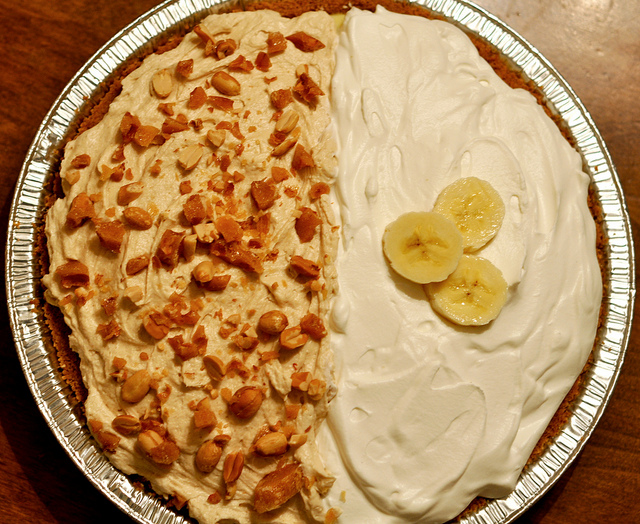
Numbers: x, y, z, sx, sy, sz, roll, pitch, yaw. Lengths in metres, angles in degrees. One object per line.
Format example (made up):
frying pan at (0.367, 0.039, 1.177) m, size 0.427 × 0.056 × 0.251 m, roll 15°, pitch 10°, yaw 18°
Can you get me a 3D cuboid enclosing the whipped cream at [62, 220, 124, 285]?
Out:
whipped cream at (-1.331, 0.009, 4.531) m, size 0.339 × 0.347 × 0.375 m, roll 3°, pitch -54°, yaw -7°
